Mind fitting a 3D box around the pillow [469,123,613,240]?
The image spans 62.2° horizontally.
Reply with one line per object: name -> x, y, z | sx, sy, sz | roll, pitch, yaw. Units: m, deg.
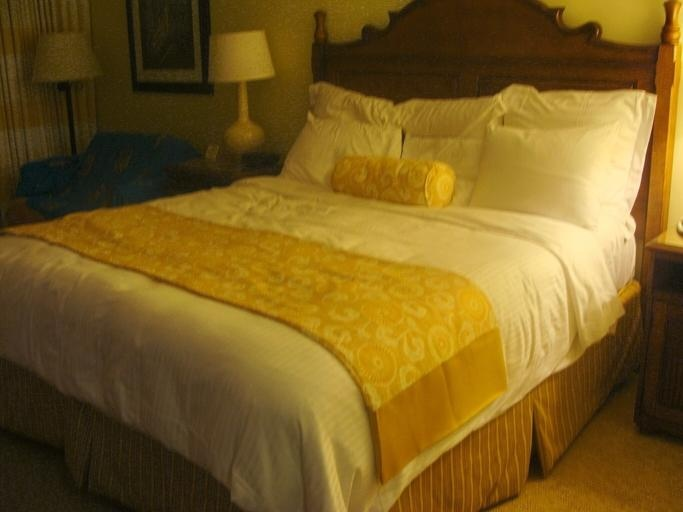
pillow -> 0.856, -0.298, 2.367 | 0.418, 0.386, 0.152 | 12, 10, 33

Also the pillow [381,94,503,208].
pillow -> 0.438, -0.606, 2.809 | 0.172, 0.560, 0.516 | 2, 3, -35
